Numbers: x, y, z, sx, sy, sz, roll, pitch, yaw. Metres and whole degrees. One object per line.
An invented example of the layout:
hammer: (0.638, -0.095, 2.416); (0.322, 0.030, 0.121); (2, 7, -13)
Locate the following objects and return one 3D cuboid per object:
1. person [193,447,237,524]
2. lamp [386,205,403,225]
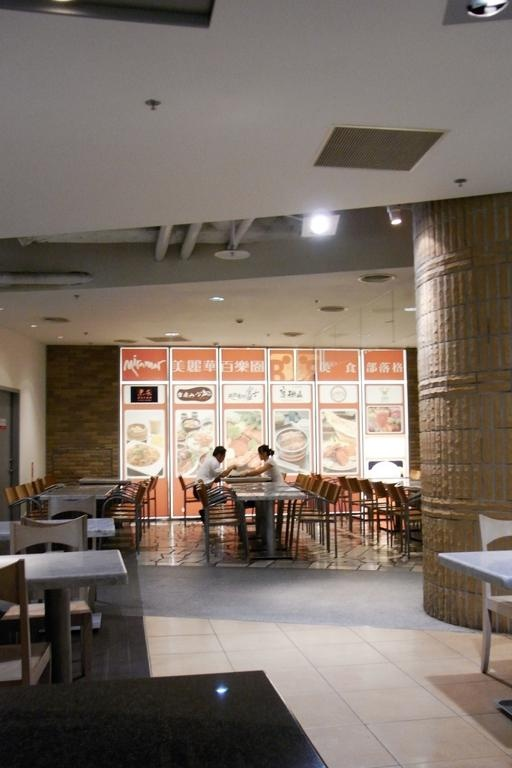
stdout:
person: (-0.636, 1.618, 9.672); (0.710, 1.250, 0.554); (-1, -9, 1)
lamp: (1.381, -1.673, 6.002); (0.114, 0.203, 0.276); (-3, -8, 19)
